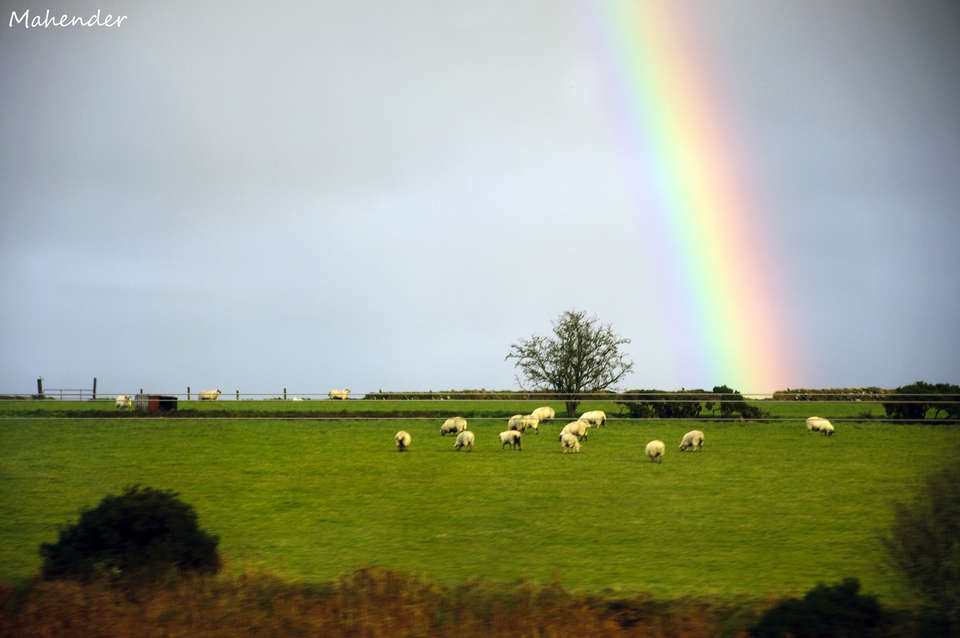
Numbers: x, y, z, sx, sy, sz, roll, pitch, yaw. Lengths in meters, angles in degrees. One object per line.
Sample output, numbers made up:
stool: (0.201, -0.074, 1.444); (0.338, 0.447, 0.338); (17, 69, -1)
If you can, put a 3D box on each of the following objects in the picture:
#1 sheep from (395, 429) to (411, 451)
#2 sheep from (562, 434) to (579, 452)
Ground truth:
sheep: (-4.274, 6.755, 46.191); (0.691, 1.011, 0.820); (-5, 23, 7)
sheep: (4.570, 6.333, 43.236); (0.756, 0.943, 1.050); (-4, -6, 6)
